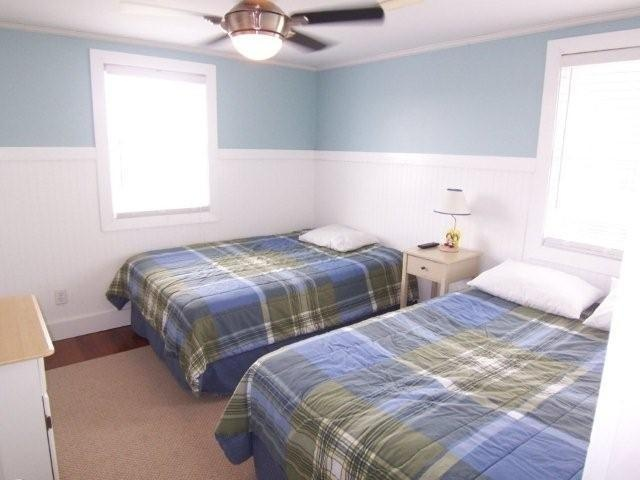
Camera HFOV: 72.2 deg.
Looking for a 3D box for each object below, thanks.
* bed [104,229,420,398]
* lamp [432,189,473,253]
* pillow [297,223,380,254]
[{"bbox_3d":[-0.305,0.439,3.474,1.695,0.443,1.447,-7,12,-38],"label":"bed"},{"bbox_3d":[1.116,-0.173,3.683,0.273,0.520,0.402,3,17,19],"label":"lamp"},{"bbox_3d":[0.128,-0.026,4.352,0.388,0.113,0.491,-12,18,-41],"label":"pillow"}]
